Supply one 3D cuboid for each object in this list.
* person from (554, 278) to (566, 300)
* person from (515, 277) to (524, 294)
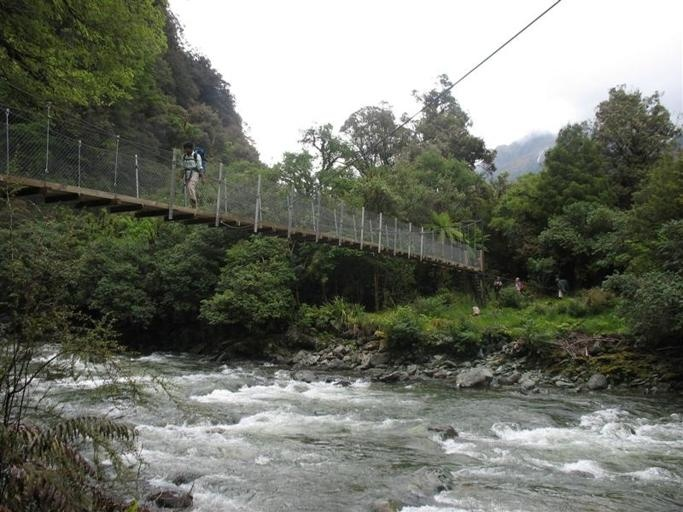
[{"bbox_3d":[12.656,1.871,31.689,0.599,1.107,2.735,3,3,22],"label":"person"},{"bbox_3d":[10.652,1.809,32.981,0.478,0.809,0.402,7,-35,-8],"label":"person"}]
